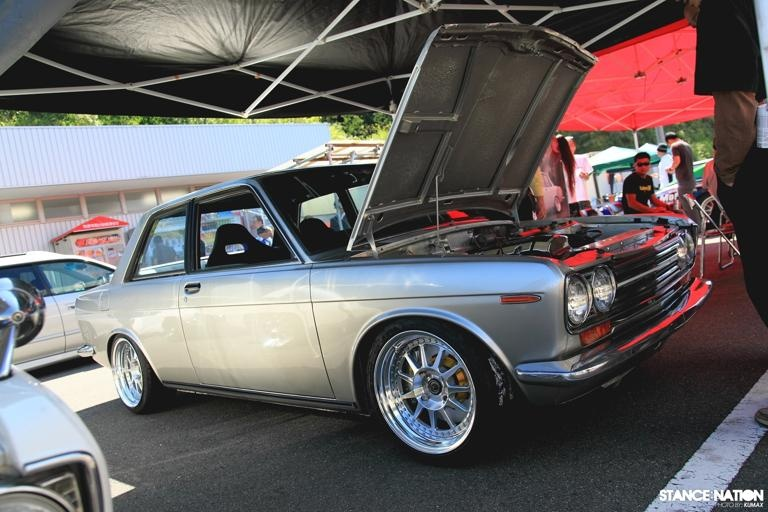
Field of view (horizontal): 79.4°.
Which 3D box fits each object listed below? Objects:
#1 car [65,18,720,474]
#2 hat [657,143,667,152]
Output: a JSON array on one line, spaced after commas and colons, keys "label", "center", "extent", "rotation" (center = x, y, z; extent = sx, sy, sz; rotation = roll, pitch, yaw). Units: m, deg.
[{"label": "car", "center": [-0.480, -0.074, 4.820], "extent": [5.630, 2.410, 3.241], "rotation": [-7, 0, 36]}, {"label": "hat", "center": [6.343, -2.485, 10.596], "extent": [0.227, 0.121, 0.231], "rotation": [7, 10, 42]}]
